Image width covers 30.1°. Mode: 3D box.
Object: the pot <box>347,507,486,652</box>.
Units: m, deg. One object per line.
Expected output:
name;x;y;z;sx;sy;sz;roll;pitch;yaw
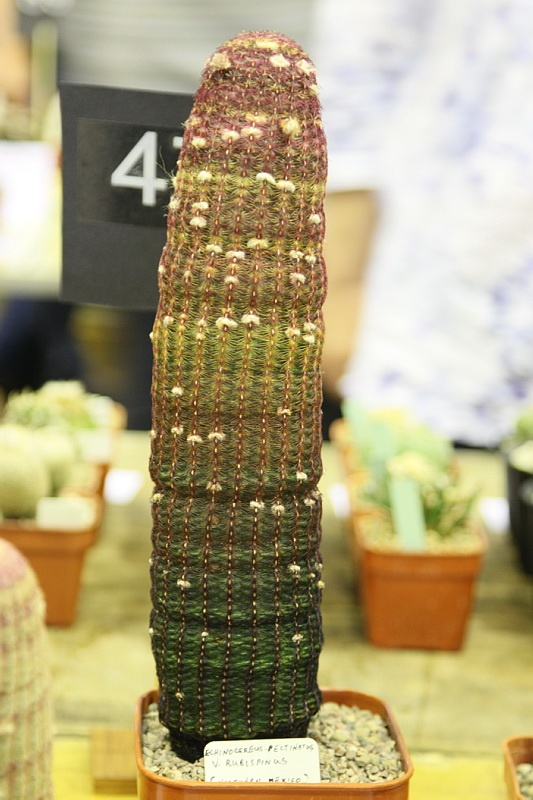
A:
pot;0.176;0.218;1.164;0.132;0.104;0.180;1;0;0

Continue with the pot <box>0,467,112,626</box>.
pot;-0.231;0.187;1.201;0.163;0.148;0.207;1;8;0
